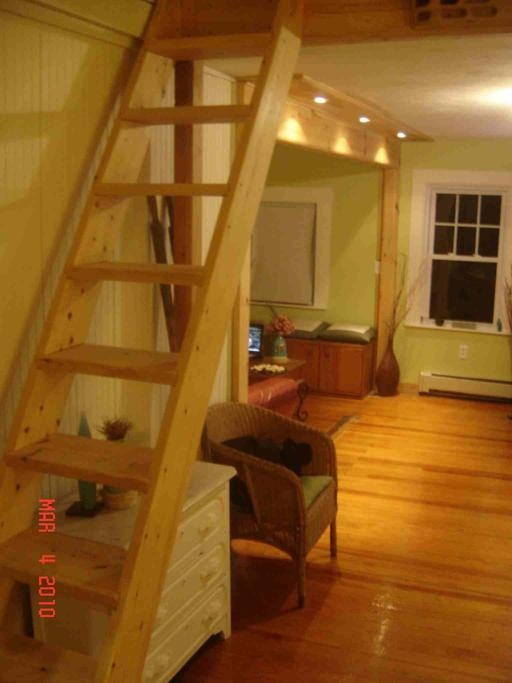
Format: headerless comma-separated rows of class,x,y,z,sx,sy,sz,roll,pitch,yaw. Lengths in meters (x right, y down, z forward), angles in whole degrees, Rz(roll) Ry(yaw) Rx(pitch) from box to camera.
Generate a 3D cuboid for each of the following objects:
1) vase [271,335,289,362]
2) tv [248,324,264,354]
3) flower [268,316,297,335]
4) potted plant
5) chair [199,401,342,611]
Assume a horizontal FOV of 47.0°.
vase,0.215,0.053,5.493,0.177,0.373,0.196,0,5,10
tv,-0.002,-0.043,5.723,0.191,0.345,0.221,-2,9,-15
flower,0.226,-0.163,5.532,0.218,0.190,0.371,1,8,1
potted plant,1.643,-0.195,6.664,0.613,1.571,0.274,-6,10,-43
chair,0.121,0.658,3.229,0.717,1.170,0.838,1,8,23
